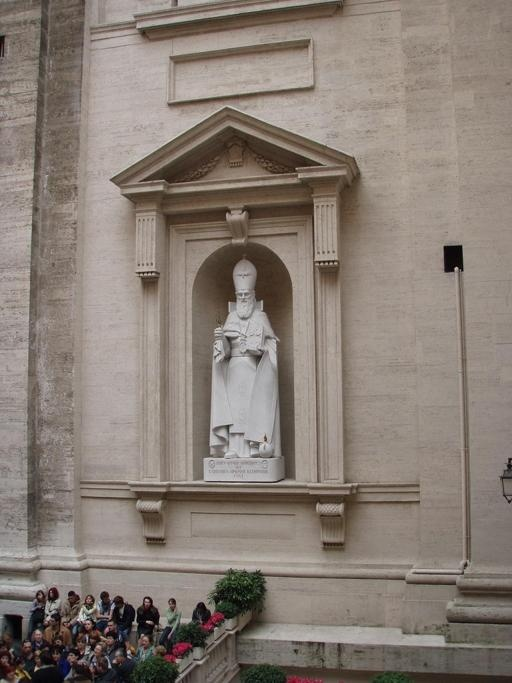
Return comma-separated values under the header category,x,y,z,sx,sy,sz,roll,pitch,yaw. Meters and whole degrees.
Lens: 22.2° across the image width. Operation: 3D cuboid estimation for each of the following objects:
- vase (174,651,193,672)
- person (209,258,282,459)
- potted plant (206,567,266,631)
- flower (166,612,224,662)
category,x,y,z,sx,sy,sz,roll,pitch,yaw
vase,-0.853,3.855,15.609,0.070,0.200,0.399,-3,-6,21
person,-0.184,0.228,18.760,0.999,2.916,0.670,-2,-6,5
potted plant,-0.276,3.412,17.481,0.577,0.660,0.673,1,-6,15
flower,-0.797,3.658,15.968,0.317,0.336,0.860,-3,-7,22
